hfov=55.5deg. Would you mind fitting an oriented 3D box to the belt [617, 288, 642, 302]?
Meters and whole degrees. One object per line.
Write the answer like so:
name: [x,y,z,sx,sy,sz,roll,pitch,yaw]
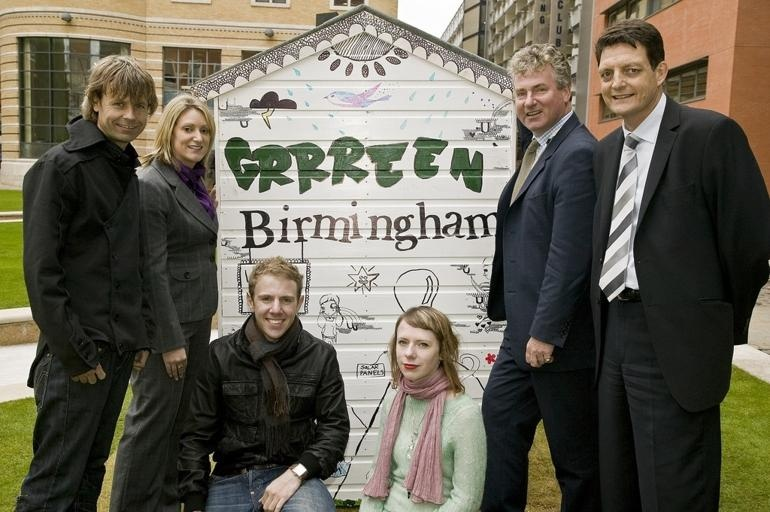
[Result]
belt: [1.549,0.246,4.618,0.095,0.059,0.074,-2,-12,1]
